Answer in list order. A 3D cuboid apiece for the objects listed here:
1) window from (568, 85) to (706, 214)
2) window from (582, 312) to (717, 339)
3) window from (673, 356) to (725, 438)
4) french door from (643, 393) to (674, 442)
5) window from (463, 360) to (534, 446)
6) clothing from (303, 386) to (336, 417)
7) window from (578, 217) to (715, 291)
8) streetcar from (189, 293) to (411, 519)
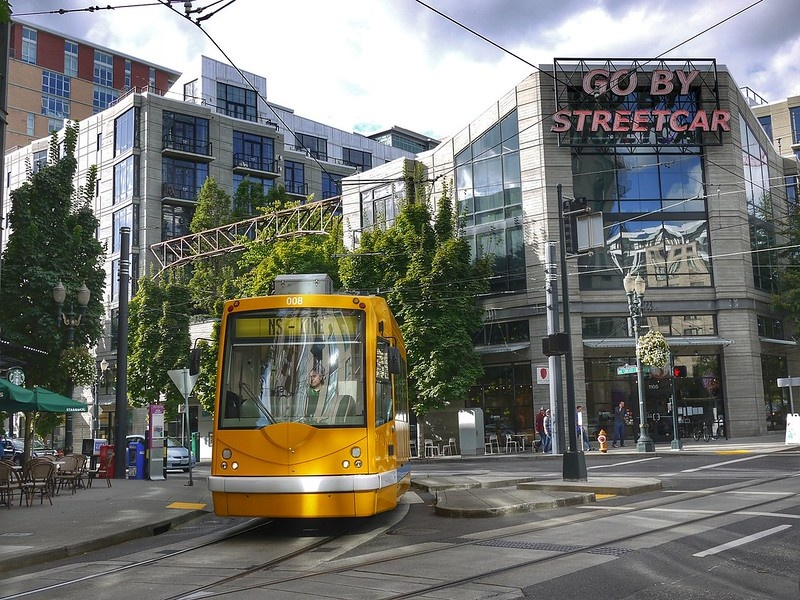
[{"bbox_3d":[11.001,-7.069,41.191,8.015,8.421,0.134,-2,8,3],"label":"window"},{"bbox_3d":[12.390,0.929,39.989,6.356,1.116,1.196,-1,-8,1],"label":"window"},{"bbox_3d":[14.128,4.498,41.094,2.092,3.844,0.762,-6,-10,20],"label":"window"},{"bbox_3d":[12.282,5.555,41.269,1.089,2.204,0.457,-5,-10,14],"label":"french door"},{"bbox_3d":[5.016,4.732,42.733,3.738,5.222,2.646,-6,-10,45],"label":"window"},{"bbox_3d":[-1.454,1.851,15.905,0.442,0.606,0.152,5,-9,-2],"label":"clothing"},{"bbox_3d":[11.903,-2.182,41.535,5.742,3.362,0.430,-2,-9,-3],"label":"window"},{"bbox_3d":[-1.895,1.898,16.025,2.872,4.066,0.863,-4,-9,9],"label":"streetcar"}]
